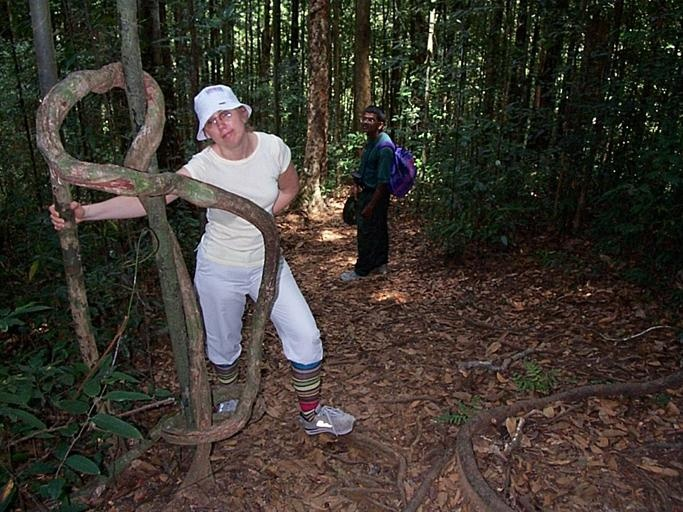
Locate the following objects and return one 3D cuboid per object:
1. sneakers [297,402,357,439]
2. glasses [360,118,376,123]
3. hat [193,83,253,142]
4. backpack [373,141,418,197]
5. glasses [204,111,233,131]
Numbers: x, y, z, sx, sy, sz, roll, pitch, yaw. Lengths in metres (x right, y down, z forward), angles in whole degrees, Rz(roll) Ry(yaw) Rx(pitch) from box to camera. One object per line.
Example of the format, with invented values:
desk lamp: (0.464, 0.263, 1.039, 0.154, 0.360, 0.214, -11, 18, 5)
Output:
sneakers: (-0.111, 1.315, 3.904, 0.419, 0.197, 0.214, -3, 20, -1)
glasses: (0.354, -1.742, 6.272, 0.204, 0.082, 0.096, 10, 21, 26)
hat: (-0.802, -1.061, 3.358, 0.382, 0.189, 0.310, -11, 8, -3)
backpack: (0.624, -1.199, 6.568, 0.709, 0.668, 0.454, 8, 20, -3)
glasses: (-0.809, -0.916, 3.297, 0.127, 0.073, 0.164, -13, -20, -22)
